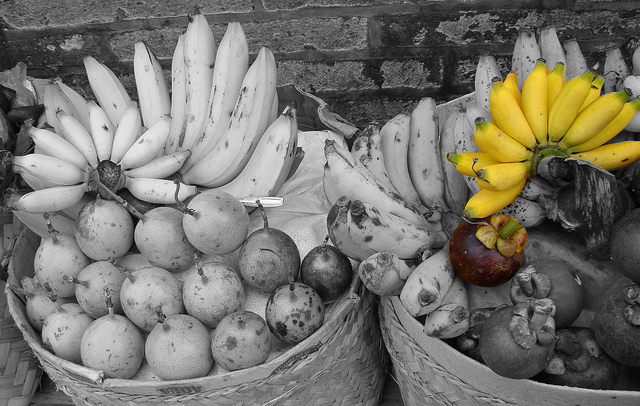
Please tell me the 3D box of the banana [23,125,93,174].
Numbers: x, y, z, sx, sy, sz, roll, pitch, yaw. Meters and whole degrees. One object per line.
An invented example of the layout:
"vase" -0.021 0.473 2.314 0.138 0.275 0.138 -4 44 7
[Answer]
"banana" -0.891 -0.182 2.127 0.186 0.064 0.055 38 67 3

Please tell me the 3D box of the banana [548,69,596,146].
"banana" 0.756 -0.275 1.849 0.057 0.215 0.074 23 19 -19

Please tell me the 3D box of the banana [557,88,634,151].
"banana" 0.811 -0.249 1.838 0.047 0.182 0.064 35 15 -2

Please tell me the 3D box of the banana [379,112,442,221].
"banana" 0.319 -0.182 2.149 0.120 0.477 0.155 -10 -7 -40

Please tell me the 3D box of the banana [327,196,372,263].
"banana" 0.082 0.084 1.976 0.122 0.208 0.125 -38 26 -27

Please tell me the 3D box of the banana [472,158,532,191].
"banana" 0.553 -0.075 1.839 0.197 0.098 0.048 -14 36 -16

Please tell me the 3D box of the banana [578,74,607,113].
"banana" 0.805 -0.321 1.831 0.042 0.125 0.032 35 0 -22

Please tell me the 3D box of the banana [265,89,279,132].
"banana" -0.175 -0.347 2.283 0.033 0.133 0.045 -1 51 -10

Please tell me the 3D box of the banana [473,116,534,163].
"banana" 0.571 -0.155 1.871 0.204 0.146 0.069 10 -12 4

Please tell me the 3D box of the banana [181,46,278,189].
"banana" -0.270 -0.265 2.275 0.175 0.692 0.223 24 6 9

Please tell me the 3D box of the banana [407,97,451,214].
"banana" 0.363 -0.146 2.144 0.114 0.135 0.469 8 61 -19

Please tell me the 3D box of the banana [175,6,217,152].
"banana" -0.447 -0.468 2.268 0.112 0.614 0.186 3 8 4

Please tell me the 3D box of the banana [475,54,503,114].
"banana" 0.565 -0.406 2.044 0.060 0.233 0.070 -3 9 4

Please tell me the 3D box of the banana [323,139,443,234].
"banana" 0.212 -0.048 2.012 0.316 0.091 0.112 44 3 -4

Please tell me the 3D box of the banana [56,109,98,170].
"banana" -0.848 -0.214 2.155 0.059 0.226 0.070 -26 -5 6

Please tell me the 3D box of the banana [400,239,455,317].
"banana" 0.343 0.228 1.923 0.094 0.114 0.256 17 46 23

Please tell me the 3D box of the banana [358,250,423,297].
"banana" 0.195 0.199 1.922 0.222 0.157 0.079 -10 17 -34

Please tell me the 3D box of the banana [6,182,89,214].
"banana" -0.912 -0.015 2.096 0.144 0.042 0.053 -21 25 -19

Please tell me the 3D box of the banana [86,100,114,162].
"banana" -0.765 -0.249 2.172 0.063 0.260 0.079 -8 -8 -2

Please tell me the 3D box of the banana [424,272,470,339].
"banana" 0.406 0.323 1.896 0.114 0.118 0.277 11 38 22

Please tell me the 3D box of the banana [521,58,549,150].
"banana" 0.653 -0.299 1.915 0.065 0.270 0.088 3 -8 -29

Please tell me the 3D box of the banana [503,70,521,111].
"banana" 0.599 -0.360 1.915 0.038 0.049 0.151 3 70 -15
